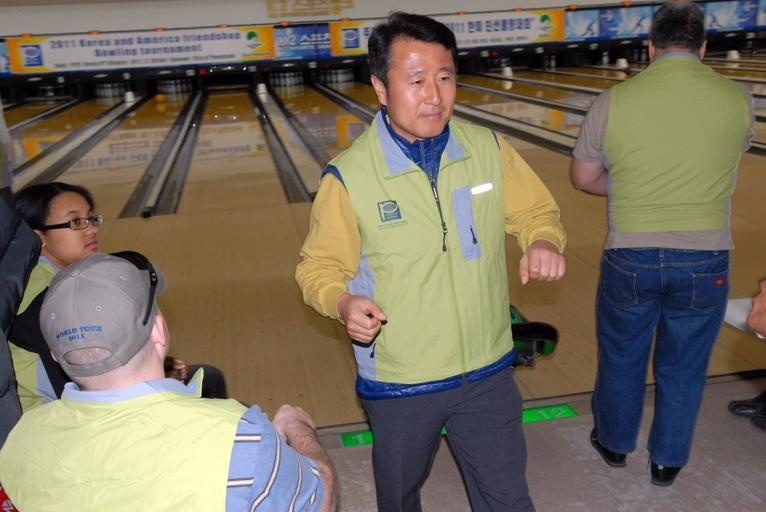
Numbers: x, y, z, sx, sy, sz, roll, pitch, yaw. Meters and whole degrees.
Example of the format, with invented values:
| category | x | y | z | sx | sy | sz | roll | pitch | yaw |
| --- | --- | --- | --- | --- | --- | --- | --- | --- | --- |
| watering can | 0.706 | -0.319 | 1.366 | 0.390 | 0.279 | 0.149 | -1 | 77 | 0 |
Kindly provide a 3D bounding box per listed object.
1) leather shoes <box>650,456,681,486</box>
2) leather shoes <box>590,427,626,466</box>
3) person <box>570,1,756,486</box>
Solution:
| category | x | y | z | sx | sy | sz | roll | pitch | yaw |
| --- | --- | --- | --- | --- | --- | --- | --- | --- | --- |
| leather shoes | 1.058 | 0.824 | 2.051 | 0.056 | 0.061 | 0.151 | 2 | 14 | 34 |
| leather shoes | 0.916 | 0.785 | 2.234 | 0.071 | 0.071 | 0.169 | -7 | 29 | -4 |
| person | 0.983 | -0.034 | 2.032 | 0.564 | 1.711 | 0.591 | 8 | 25 | 27 |
